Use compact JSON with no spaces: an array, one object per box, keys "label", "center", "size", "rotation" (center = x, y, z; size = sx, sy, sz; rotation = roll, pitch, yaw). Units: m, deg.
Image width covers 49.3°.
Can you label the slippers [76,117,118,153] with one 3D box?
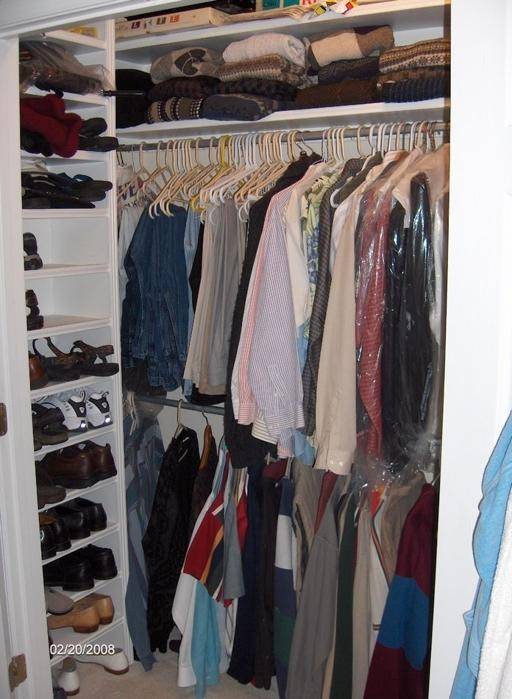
[{"label":"slippers","center":[-0.457,-0.623,1.619],"size":[0.113,0.079,0.052],"rotation":[2,0,-5]}]

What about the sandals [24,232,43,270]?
[{"label":"sandals","center":[-0.615,-0.268,1.540],"size":[0.043,0.104,0.184],"rotation":[-4,9,-22]}]
